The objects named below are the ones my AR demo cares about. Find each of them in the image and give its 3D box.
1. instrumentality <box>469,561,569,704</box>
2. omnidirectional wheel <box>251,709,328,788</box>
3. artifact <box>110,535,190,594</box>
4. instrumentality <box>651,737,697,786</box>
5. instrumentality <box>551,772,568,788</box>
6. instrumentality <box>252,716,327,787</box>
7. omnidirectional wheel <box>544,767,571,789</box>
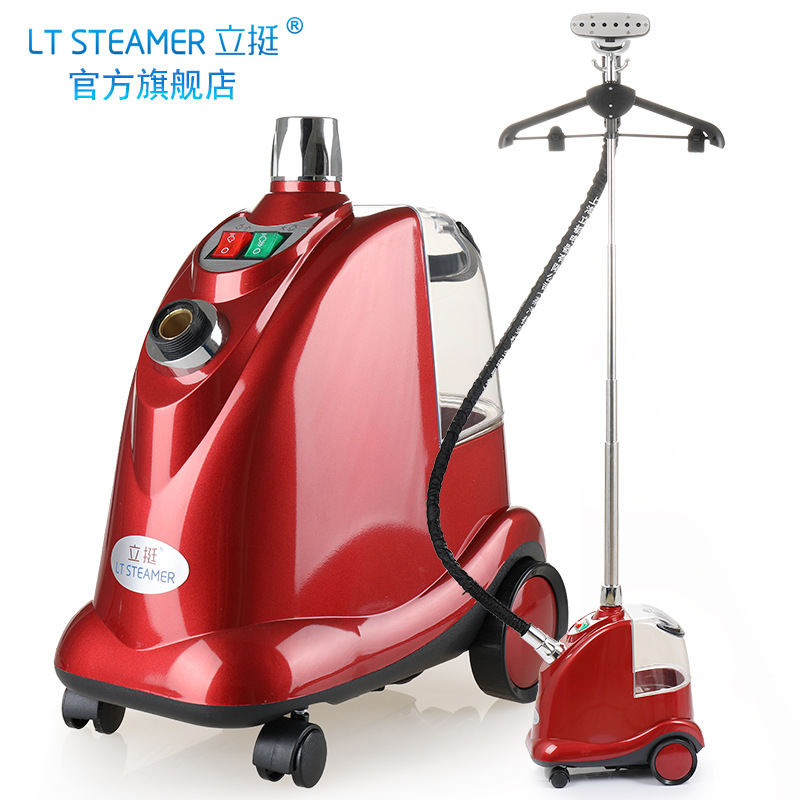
[{"bbox_3d":[0.170,0.344,1.461,0.086,0.208,0.251,2,6,31],"label":"instrumentality"},{"bbox_3d":[-0.134,0.411,1.148,0.093,0.074,0.082,-3,7,-44],"label":"omnidirectional wheel"},{"bbox_3d":[-0.298,0.194,1.143,0.117,0.067,0.030,7,14,39],"label":"artifact"},{"bbox_3d":[0.329,0.437,1.172,0.062,0.069,0.019,-3,12,-15],"label":"instrumentality"},{"bbox_3d":[0.191,0.458,1.172,0.024,0.016,0.021,3,11,15],"label":"instrumentality"},{"bbox_3d":[-0.131,0.414,1.147,0.091,0.065,0.080,2,1,3],"label":"instrumentality"},{"bbox_3d":[0.190,0.455,1.180,0.031,0.021,0.029,-4,5,0],"label":"omnidirectional wheel"}]
